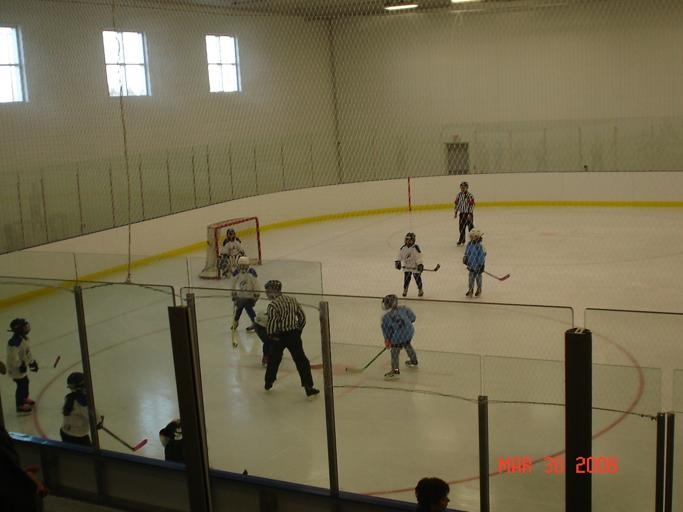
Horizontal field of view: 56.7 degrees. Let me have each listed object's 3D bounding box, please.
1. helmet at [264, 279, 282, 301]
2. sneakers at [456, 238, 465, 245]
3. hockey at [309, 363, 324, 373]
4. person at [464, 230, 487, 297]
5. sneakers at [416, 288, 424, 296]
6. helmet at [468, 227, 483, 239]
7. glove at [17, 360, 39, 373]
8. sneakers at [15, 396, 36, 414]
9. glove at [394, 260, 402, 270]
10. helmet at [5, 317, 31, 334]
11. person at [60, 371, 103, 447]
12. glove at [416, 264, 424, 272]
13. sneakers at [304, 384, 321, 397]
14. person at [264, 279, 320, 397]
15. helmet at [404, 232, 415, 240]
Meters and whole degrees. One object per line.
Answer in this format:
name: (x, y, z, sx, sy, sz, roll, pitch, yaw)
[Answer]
helmet: (-0.486, 0.241, 4.599, 0.117, 0.173, 0.162, 2, 16, -7)
sneakers: (2.596, -0.304, 13.997, 0.194, 0.153, 0.069, 10, 22, 31)
hockey: (-0.157, 0.714, 4.027, 0.089, 0.050, 0.005, 4, 14, 28)
person: (2.160, 0.099, 10.340, 0.337, 1.213, 0.992, -1, 13, 11)
sneakers: (1.302, 0.615, 10.497, 0.052, 0.118, 0.156, 5, 13, 21)
helmet: (2.430, -0.406, 11.549, 0.297, 0.222, 0.429, 3, 16, 4)
glove: (-2.345, 0.846, 4.743, 0.098, 0.111, 0.041, 1, 6, -4)
sneakers: (-2.411, 1.150, 4.852, 0.147, 0.065, 0.085, -8, 27, -11)
glove: (0.924, 0.157, 10.319, 0.105, 0.059, 0.153, 4, -19, 5)
helmet: (-2.401, 0.530, 4.732, 0.154, 0.129, 0.116, -4, 13, -13)
person: (-1.970, 1.337, 4.848, 0.284, 0.899, 0.255, -3, 8, -30)
glove: (1.259, 0.201, 10.220, 0.079, 0.121, 0.106, -4, -9, 8)
sneakers: (-0.191, 0.872, 4.040, 0.109, 0.085, 0.041, -15, 24, -23)
person: (-0.353, 0.537, 4.155, 0.345, 0.745, 0.267, 2, 12, 14)
helmet: (1.249, -0.351, 11.749, 0.190, 0.132, 0.287, 4, 22, 5)
